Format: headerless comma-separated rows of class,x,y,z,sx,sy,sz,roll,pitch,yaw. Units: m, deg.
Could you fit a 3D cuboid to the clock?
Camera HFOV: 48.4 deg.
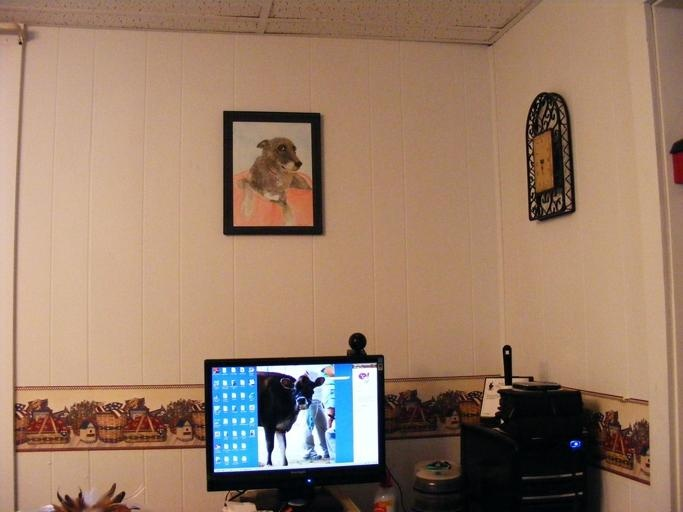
clock,0.955,-0.467,3.503,0.071,0.591,0.306,-2,-4,-16

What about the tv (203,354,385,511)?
tv,-0.197,0.747,3.254,0.604,0.509,0.170,0,-10,-5

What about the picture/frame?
picture/frame,-0.356,-0.387,3.721,0.548,0.740,0.048,-1,-1,-4
